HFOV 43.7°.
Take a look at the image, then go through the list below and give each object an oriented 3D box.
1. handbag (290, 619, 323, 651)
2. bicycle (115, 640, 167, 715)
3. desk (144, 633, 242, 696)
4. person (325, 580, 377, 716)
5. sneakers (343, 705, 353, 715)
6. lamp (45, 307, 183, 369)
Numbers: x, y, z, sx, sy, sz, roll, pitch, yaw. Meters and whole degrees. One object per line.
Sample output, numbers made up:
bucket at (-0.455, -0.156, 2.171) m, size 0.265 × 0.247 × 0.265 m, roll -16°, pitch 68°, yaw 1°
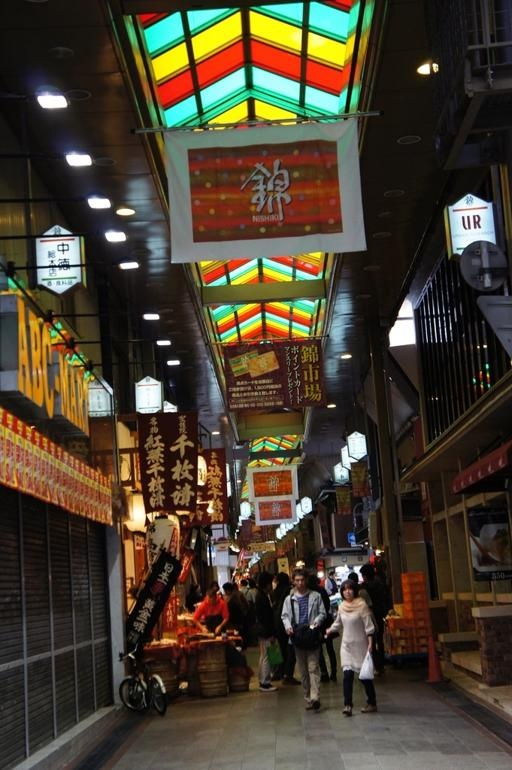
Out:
handbag at (0.534, 2.726, 6.903) m, size 0.321 × 0.285 × 0.299 m, roll -6°, pitch -15°, yaw 0°
bicycle at (-1.395, 3.611, 7.799) m, size 0.542 × 0.737 × 1.125 m, roll -23°, pitch -31°, yaw 7°
desk at (-0.845, 3.964, 8.971) m, size 1.161 × 0.564 × 1.007 m, roll 5°, pitch -18°, yaw -16°
person at (1.006, 2.717, 6.624) m, size 0.499 × 1.325 × 1.088 m, roll -7°, pitch -15°, yaw 3°
sneakers at (0.903, 3.200, 6.274) m, size 0.058 × 0.073 × 0.171 m, roll -2°, pitch -30°, yaw 4°
lamp at (-2.137, -0.767, 9.811) m, size 1.348 × 0.401 × 1.314 m, roll -1°, pitch -39°, yaw 1°
